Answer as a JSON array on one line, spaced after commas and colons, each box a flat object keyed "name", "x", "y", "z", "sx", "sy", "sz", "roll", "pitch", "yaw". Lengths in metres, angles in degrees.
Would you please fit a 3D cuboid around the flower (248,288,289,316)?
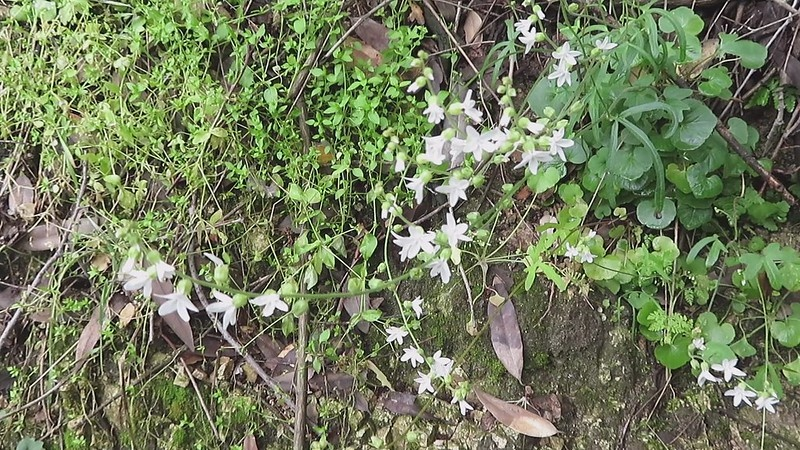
[{"name": "flower", "x": -0.644, "y": 0.386, "z": 3.014, "sx": 0.153, "sy": 0.150, "sz": 0.166, "roll": 1, "pitch": 14, "yaw": -26}]

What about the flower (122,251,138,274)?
[{"name": "flower", "x": -1.299, "y": 0.187, "z": 2.973, "sx": 0.053, "sy": 0.140, "sz": 0.160, "roll": 2, "pitch": 14, "yaw": -24}]

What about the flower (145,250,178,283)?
[{"name": "flower", "x": -1.144, "y": 0.198, "z": 2.955, "sx": 0.110, "sy": 0.072, "sz": 0.180, "roll": -21, "pitch": 63, "yaw": -33}]

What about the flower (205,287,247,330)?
[{"name": "flower", "x": -0.859, "y": 0.425, "z": 3.019, "sx": 0.161, "sy": 0.242, "sz": 0.235, "roll": 2, "pitch": 14, "yaw": -25}]
